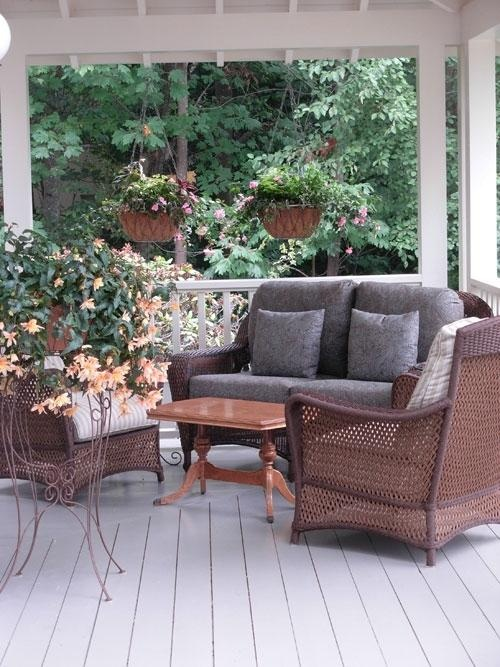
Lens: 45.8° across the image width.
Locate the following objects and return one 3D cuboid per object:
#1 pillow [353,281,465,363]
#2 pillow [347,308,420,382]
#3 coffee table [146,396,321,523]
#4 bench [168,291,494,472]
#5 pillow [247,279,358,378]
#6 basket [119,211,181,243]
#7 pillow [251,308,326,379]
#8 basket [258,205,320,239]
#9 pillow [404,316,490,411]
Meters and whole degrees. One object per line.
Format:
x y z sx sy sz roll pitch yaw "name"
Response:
0.870 -0.040 3.265 0.261 0.466 0.698 -5 4 -38 "pillow"
0.695 0.080 3.086 0.415 0.383 0.149 5 4 34 "pillow"
-0.076 0.557 2.669 0.679 0.418 0.417 1 -2 28 "coffee table"
0.372 0.213 2.707 1.067 0.671 0.527 0 2 32 "bench"
0.305 -0.006 3.606 0.748 0.593 0.289 4 19 39 "pillow"
-0.689 -0.714 3.995 0.263 0.117 0.256 -1 -2 34 "basket"
0.219 0.073 3.395 0.448 0.411 0.233 -1 -1 31 "pillow"
0.276 -0.731 3.858 0.253 0.120 0.251 -1 1 12 "basket"
0.609 0.104 1.949 0.088 0.280 0.303 20 10 23 "pillow"
